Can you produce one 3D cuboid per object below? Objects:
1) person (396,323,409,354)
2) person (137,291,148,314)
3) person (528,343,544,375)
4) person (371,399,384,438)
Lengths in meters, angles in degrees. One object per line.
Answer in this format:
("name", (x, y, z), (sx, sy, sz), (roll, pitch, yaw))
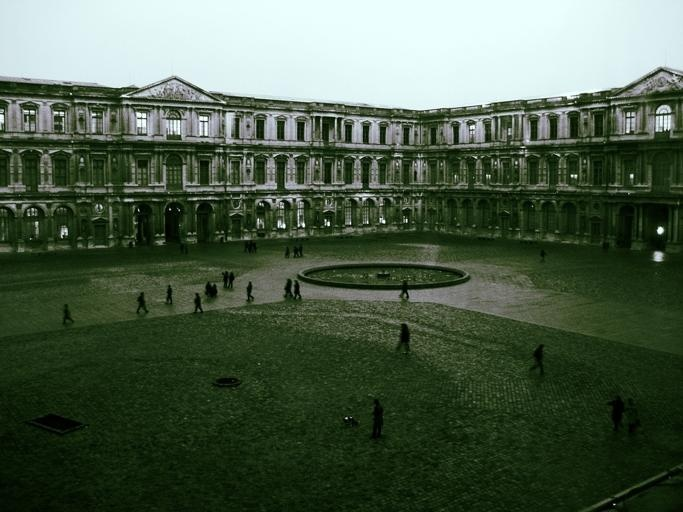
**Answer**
("person", (2.684, 3.407, 33.200), (0.530, 1.228, 1.227), (0, 12, 5))
("person", (-10.368, 2.297, 39.780), (0.573, 1.086, 1.937), (-4, 12, -14))
("person", (7.856, 3.938, 30.821), (0.543, 1.125, 1.725), (2, 12, 14))
("person", (1.184, 5.326, 25.396), (0.341, 1.212, 0.585), (-1, 12, 2))
